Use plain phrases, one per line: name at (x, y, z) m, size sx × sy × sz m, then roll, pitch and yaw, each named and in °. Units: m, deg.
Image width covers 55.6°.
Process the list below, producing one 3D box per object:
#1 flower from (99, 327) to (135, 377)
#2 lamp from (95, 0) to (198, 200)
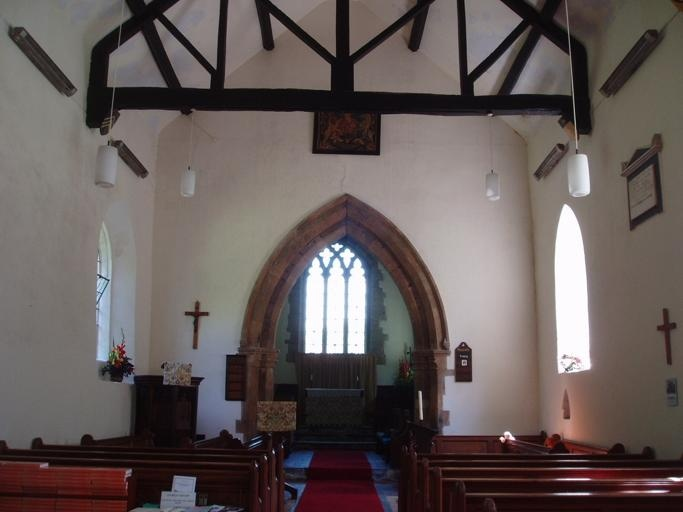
flower at (-3.225, 1.515, 9.563) m, size 0.452 × 0.830 × 0.536 m, roll 0°, pitch -12°, yaw -3°
lamp at (-2.775, -1.940, 8.870) m, size 1.010 × 2.641 × 2.168 m, roll 1°, pitch -11°, yaw 4°
